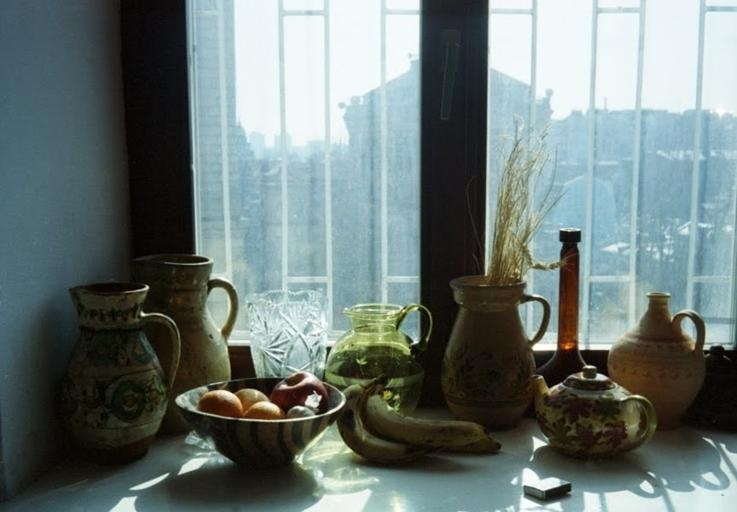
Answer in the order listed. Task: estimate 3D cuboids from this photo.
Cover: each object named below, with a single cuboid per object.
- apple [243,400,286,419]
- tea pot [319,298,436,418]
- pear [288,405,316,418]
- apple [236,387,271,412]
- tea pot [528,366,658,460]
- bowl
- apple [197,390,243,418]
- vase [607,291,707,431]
[{"bbox_3d":[-0.215,0.325,1.450,0.056,0.045,0.043,8,0,-8],"label":"apple"},{"bbox_3d":[-0.001,0.230,1.632,0.268,0.267,0.233,2,-5,-15],"label":"tea pot"},{"bbox_3d":[-0.139,0.325,1.448,0.031,0.017,0.032,-2,-2,-3],"label":"pear"},{"bbox_3d":[-0.254,0.309,1.523,0.053,0.031,0.043,12,4,35],"label":"apple"},{"bbox_3d":[0.496,0.331,1.553,0.237,0.145,0.175,1,-3,35],"label":"tea pot"},{"bbox_3d":[-0.166,0.361,1.513,0.261,0.100,0.268,-7,7,1],"label":"bowl"},{"bbox_3d":[-0.309,0.311,1.463,0.070,0.056,0.055,14,18,10],"label":"apple"},{"bbox_3d":[0.702,0.249,1.706,0.271,0.310,0.273,0,2,-15],"label":"vase"}]
